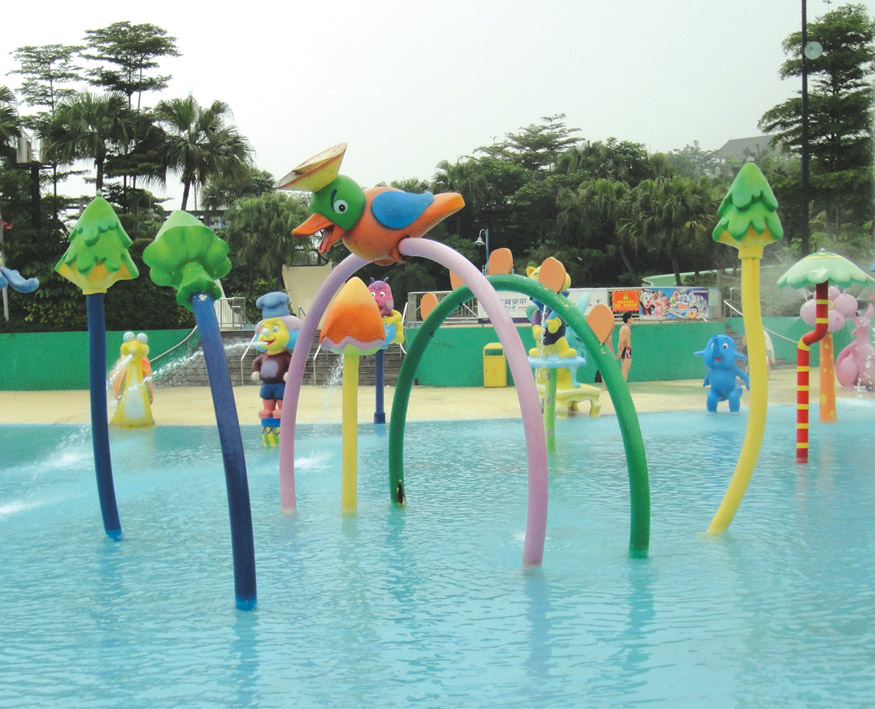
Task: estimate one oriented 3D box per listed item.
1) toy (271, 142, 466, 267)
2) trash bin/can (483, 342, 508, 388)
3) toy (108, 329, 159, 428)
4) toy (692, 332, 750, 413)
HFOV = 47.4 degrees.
[{"bbox_3d":[-0.518,-1.368,8.991,1.727,1.178,0.793,-13,8,-26],"label":"toy"},{"bbox_3d":[1.379,0.285,23.537,0.565,1.059,0.627,-2,3,0],"label":"trash bin/can"},{"bbox_3d":[-5.190,0.446,16.617,0.725,1.598,0.755,-2,3,-1],"label":"toy"},{"bbox_3d":[5.029,0.395,17.477,0.800,1.427,0.764,1,1,27],"label":"toy"}]
